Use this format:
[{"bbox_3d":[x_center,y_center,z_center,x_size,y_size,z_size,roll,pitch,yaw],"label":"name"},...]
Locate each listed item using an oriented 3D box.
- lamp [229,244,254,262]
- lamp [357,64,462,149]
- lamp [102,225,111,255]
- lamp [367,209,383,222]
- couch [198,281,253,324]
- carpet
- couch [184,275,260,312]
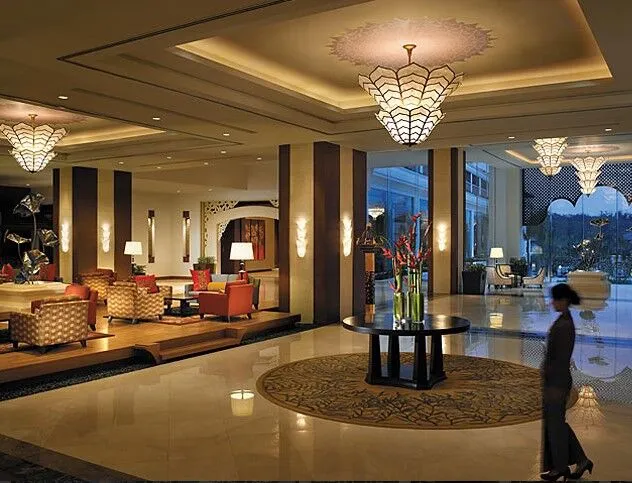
[{"bbox_3d":[-1.946,0.292,11.180,0.496,0.394,0.343,-1,-1,21],"label":"lamp"},{"bbox_3d":[1.381,-1.906,6.420,1.452,0.813,1.446,0,0,-32],"label":"lamp"},{"bbox_3d":[-6.735,-0.068,13.787,0.222,0.935,0.053,0,-1,-37],"label":"lamp"},{"bbox_3d":[2.331,-1.025,17.019,0.528,0.330,0.526,1,-3,27],"label":"lamp"},{"bbox_3d":[-2.048,1.393,9.760,1.176,0.859,0.730,0,0,-13],"label":"couch"},{"bbox_3d":[1.139,1.996,5.890,3.833,0.043,2.684,-1,-1,8],"label":"carpet"},{"bbox_3d":[-2.496,1.354,11.518,1.829,0.824,0.801,1,-2,14],"label":"couch"}]
